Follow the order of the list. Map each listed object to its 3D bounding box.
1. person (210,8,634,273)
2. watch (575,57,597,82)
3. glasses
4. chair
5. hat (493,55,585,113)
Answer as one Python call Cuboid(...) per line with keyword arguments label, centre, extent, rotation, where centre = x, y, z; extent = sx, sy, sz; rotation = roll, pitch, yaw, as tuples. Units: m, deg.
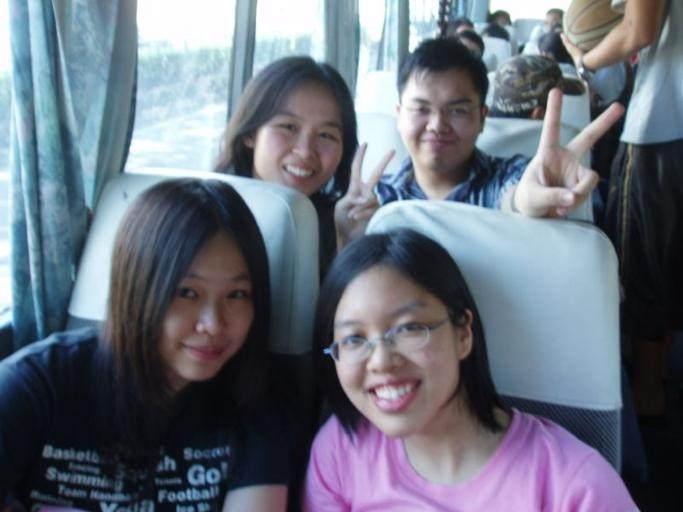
Cuboid(label="person", centre=(0.174, -0.326, 1.928), extent=(0.937, 1.131, 0.879), rotation=(-3, -7, 0))
Cuboid(label="watch", centre=(0.920, -0.700, 2.275), extent=(0.079, 0.066, 0.090), rotation=(-26, 39, -29))
Cuboid(label="glasses", centre=(0.102, 0.183, 1.314), extent=(0.257, 0.096, 0.083), rotation=(1, -1, 14))
Cuboid(label="chair", centre=(0.305, -0.114, 2.104), extent=(0.834, 1.114, 1.255), rotation=(11, 41, 40))
Cuboid(label="hat", centre=(0.796, -0.702, 2.517), extent=(0.287, 0.243, 0.241), rotation=(2, -17, 24))
